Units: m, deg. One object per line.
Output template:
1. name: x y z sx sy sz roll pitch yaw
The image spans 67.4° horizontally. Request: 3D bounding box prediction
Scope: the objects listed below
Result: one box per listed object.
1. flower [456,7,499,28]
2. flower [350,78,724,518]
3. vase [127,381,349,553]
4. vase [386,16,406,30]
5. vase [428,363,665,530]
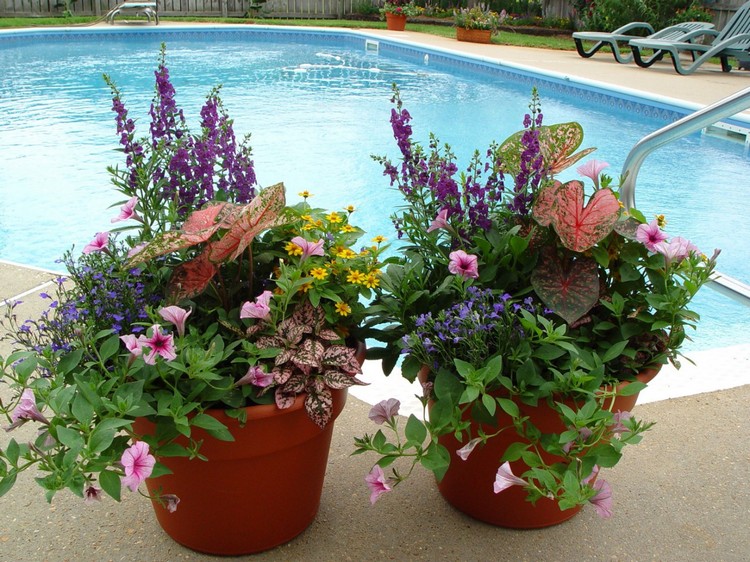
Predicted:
1. flower: 2.469 -6.326 13.545 0.903 0.392 0.589 3 34 -3
2. flower: 0.556 0.126 1.638 0.879 0.970 0.712 1 45 -1
3. vase: -0.378 0.524 1.621 0.487 0.353 0.480 -15 26 -31
4. vase: 0.539 -7.025 15.188 0.403 0.270 0.418 17 44 20
5. vase: 0.540 0.489 1.739 0.529 0.393 0.546 6 26 19
